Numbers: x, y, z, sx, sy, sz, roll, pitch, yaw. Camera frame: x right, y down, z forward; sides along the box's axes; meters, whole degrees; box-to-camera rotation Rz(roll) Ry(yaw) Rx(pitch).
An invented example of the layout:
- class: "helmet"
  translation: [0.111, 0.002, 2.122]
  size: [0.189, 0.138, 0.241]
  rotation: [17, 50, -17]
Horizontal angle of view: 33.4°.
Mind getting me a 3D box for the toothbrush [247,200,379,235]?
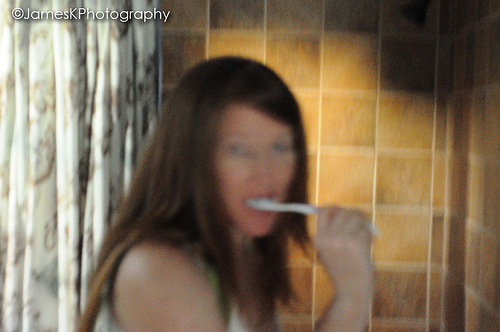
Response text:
- class: "toothbrush"
  translation: [0.127, 0.100, 1.625]
  size: [0.203, 0.026, 0.031]
  rotation: [10, 65, 9]
